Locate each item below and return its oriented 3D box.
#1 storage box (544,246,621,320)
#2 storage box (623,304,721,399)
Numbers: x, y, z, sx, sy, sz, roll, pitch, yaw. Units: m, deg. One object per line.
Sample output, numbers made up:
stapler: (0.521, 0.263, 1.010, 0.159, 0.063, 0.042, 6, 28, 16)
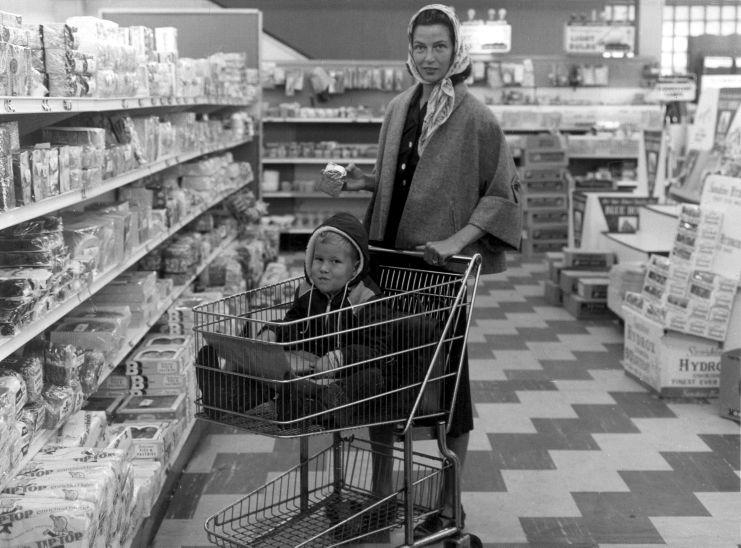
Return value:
storage box: (2.062, 0.070, 6.863, 0.530, 0.558, 1.111, 0, 12, 1)
storage box: (2.083, 0.520, 4.977, 0.378, 0.537, 0.720, -3, 6, 0)
